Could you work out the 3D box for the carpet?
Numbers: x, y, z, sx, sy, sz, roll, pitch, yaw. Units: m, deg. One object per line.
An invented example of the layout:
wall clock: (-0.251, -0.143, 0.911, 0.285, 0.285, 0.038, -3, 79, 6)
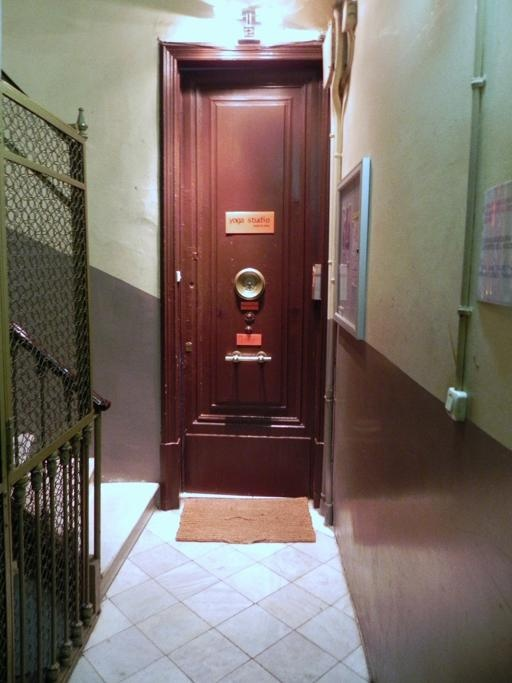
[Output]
carpet: (-0.058, 0.944, 2.937, 0.701, 0.035, 0.500, 1, 7, -2)
